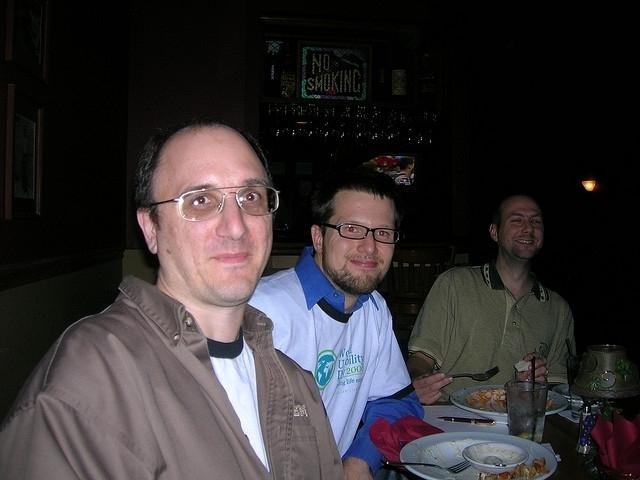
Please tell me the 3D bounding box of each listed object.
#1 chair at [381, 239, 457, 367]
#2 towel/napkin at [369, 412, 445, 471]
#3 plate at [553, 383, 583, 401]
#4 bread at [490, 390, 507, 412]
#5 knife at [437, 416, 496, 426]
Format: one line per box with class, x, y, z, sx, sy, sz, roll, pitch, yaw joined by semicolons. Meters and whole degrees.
chair;0.582;0.458;4.054;0.860;0.974;0.729;1;2;1
towel/napkin;0.276;0.653;1.690;0.189;0.059;0.152;1;16;-12
plate;0.989;0.610;2.050;0.099;0.024;0.138;1;4;2
bread;0.678;0.600;1.935;0.046;0.022;0.081;-2;32;5
knife;0.525;0.644;1.830;0.154;0.022;0.022;2;1;11
